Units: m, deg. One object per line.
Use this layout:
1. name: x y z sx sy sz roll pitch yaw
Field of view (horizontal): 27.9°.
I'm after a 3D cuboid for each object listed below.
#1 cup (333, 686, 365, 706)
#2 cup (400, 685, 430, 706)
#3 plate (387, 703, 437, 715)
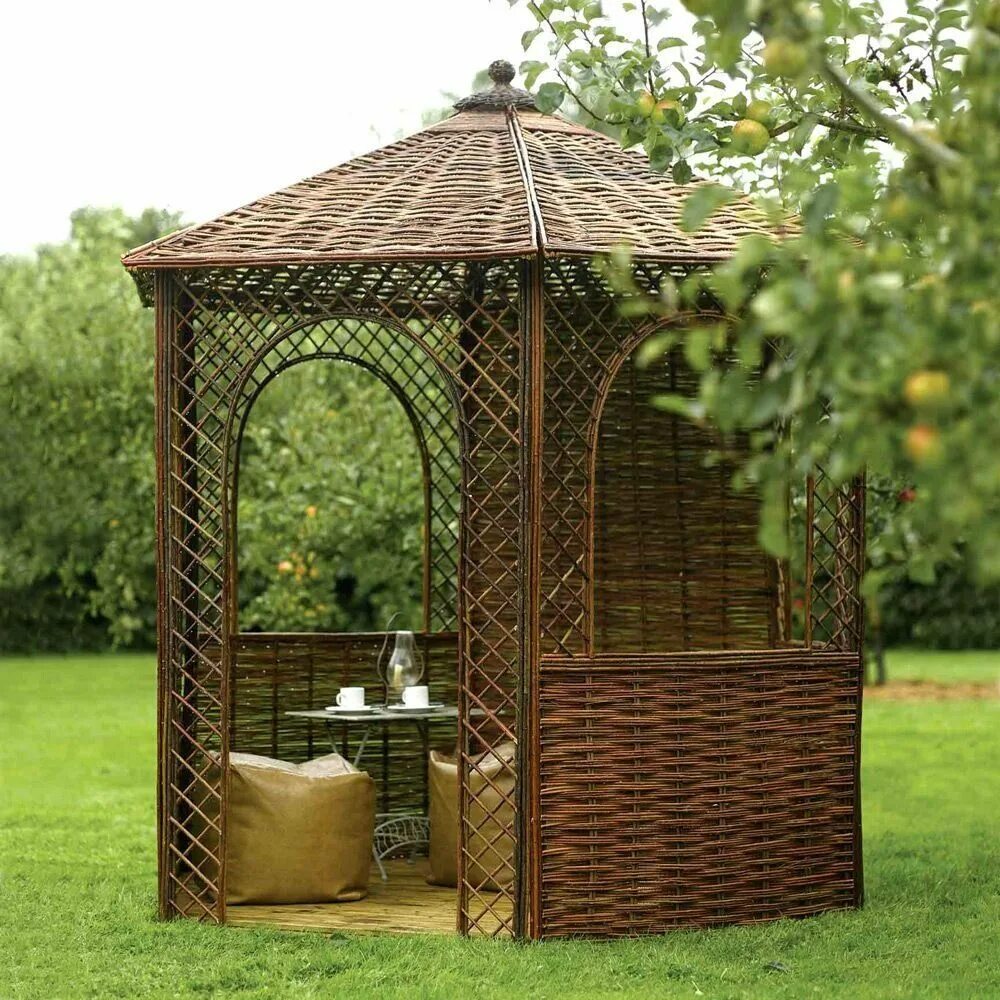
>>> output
1. cup: -0.839 1.129 11.535 0.200 0.103 0.127 -1 0 -15
2. cup: -0.475 1.126 11.458 0.162 0.085 0.106 -3 -4 11
3. plate: -0.482 1.191 11.352 0.283 0.062 0.438 0 -6 -3
